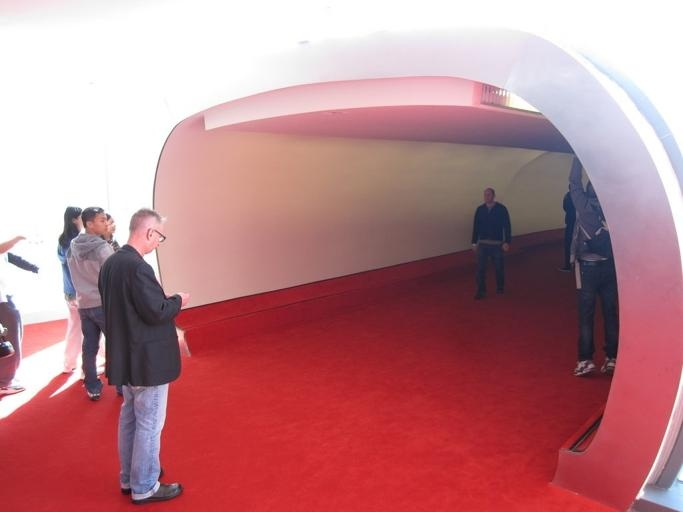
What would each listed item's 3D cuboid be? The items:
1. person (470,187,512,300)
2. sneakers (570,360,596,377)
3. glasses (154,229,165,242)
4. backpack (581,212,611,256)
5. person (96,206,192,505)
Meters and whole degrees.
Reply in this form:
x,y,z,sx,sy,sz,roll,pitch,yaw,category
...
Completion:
x,y,z,sx,sy,sz,roll,pitch,yaw,category
2.954,-0.235,8.998,0.660,2.220,0.801,3,12,18,person
2.992,1.387,5.627,0.135,0.159,0.320,-3,3,11,sneakers
-1.486,-0.175,3.717,0.030,0.113,0.105,-26,-5,-14,glasses
2.817,-0.263,5.029,0.237,0.463,0.319,-31,25,-27,backpack
-1.594,0.837,3.726,0.694,2.425,0.433,-2,11,-6,person
